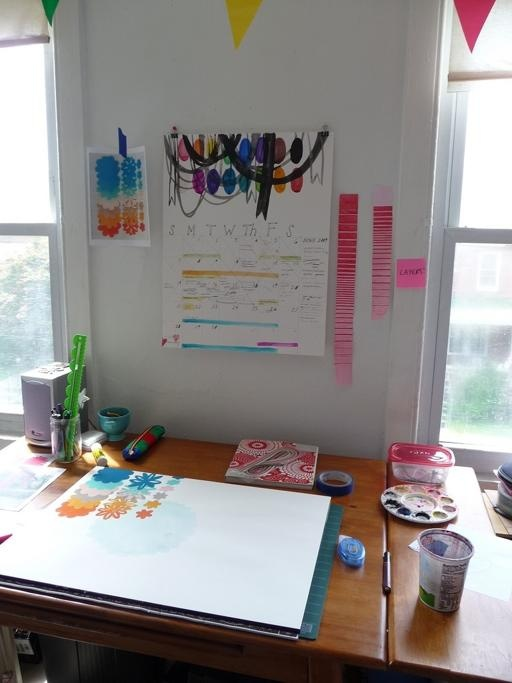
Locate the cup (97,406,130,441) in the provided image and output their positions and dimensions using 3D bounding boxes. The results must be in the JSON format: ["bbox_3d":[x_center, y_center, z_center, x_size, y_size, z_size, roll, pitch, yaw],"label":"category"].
[{"bbox_3d":[-0.385,0.224,1.362,0.080,0.071,0.086,-1,12,0],"label":"cup"}]

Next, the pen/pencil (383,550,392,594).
[{"bbox_3d":[0.212,0.372,0.808,0.010,0.011,0.101,-4,15,15],"label":"pen/pencil"}]

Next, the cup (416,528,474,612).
[{"bbox_3d":[0.273,0.333,0.768,0.087,0.098,0.094,0,18,0],"label":"cup"}]
